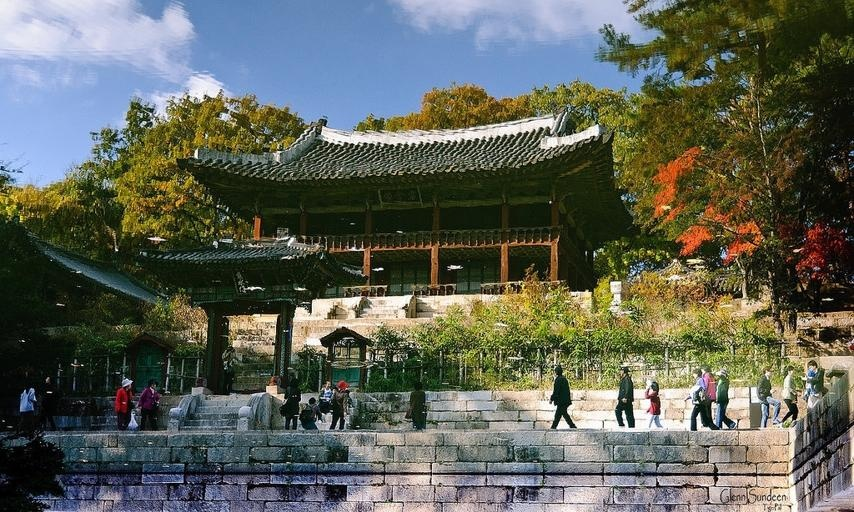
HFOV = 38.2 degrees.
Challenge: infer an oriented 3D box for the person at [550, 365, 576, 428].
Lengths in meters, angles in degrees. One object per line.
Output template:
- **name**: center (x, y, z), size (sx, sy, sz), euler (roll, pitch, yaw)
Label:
- **person**: center (4.329, 4.545, 39.711), size (0.685, 2.095, 1.277), euler (-2, -14, 9)

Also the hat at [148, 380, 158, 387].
- **hat**: center (-9.307, 4.323, 41.726), size (0.294, 0.314, 0.328), euler (2, -9, -2)

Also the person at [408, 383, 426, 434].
- **person**: center (-0.357, 4.921, 40.272), size (0.517, 1.591, 0.990), euler (0, -14, -1)

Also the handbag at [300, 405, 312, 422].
- **handbag**: center (-3.956, 5.115, 40.307), size (0.422, 0.531, 0.182), euler (-1, -14, 2)
